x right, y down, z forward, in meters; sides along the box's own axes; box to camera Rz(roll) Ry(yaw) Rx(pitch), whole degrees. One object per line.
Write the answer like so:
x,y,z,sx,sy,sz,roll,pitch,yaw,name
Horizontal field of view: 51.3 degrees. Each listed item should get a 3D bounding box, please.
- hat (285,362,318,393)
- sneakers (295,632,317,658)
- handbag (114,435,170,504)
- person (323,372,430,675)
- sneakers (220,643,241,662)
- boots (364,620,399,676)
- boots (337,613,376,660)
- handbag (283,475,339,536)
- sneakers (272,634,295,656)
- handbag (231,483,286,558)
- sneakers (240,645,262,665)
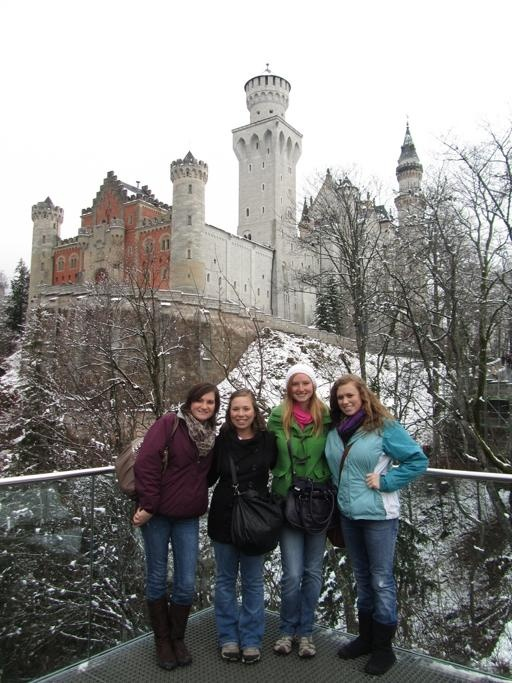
0.295,0.219,3.544,0.170,0.131,0.170,1,-20,14,hat
0.292,1.761,3.055,0.099,0.044,0.142,2,-1,8,sneakers
-0.740,0.757,3.266,0.227,0.415,0.291,-7,31,-27,handbag
0.663,1.008,3.200,0.449,1.592,0.666,4,-2,-30,person
-0.147,1.760,3.015,0.120,0.050,0.095,3,-1,2,sneakers
0.679,1.679,2.899,0.154,0.198,0.226,2,-1,19,boots
0.586,1.694,3.063,0.241,0.228,0.105,1,5,-14,boots
0.349,1.010,3.271,0.355,0.321,0.177,7,6,-23,handbag
0.163,1.778,3.109,0.132,0.072,0.124,3,-1,-4,sneakers
-0.001,1.032,3.177,0.320,0.406,0.224,-6,0,-15,handbag
-0.021,1.766,2.992,0.132,0.074,0.104,3,-1,-14,sneakers
